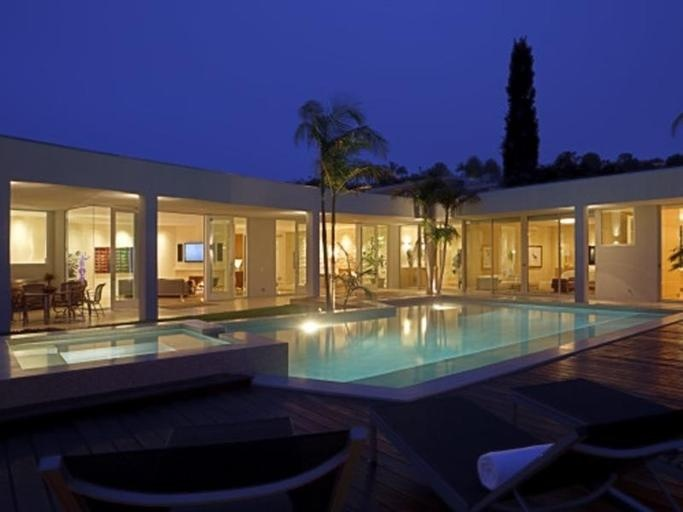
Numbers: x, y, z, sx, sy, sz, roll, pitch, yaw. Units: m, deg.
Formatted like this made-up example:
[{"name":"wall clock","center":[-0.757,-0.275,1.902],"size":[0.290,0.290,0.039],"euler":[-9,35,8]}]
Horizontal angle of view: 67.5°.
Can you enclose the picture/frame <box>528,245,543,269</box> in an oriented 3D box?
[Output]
[{"name":"picture/frame","center":[6.354,-0.057,16.947],"size":[0.675,0.768,0.075],"euler":[-1,6,-23]}]

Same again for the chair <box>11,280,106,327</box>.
[{"name":"chair","center":[-6.036,0.960,10.933],"size":[1.233,0.651,1.322],"euler":[2,1,20]}]

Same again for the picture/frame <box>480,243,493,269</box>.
[{"name":"picture/frame","center":[5.066,0.017,18.101],"size":[0.361,0.864,0.159],"euler":[2,2,19]}]

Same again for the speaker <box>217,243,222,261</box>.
[{"name":"speaker","center":[-3.576,-0.147,15.059],"size":[0.168,0.514,0.083],"euler":[0,2,-27]}]
